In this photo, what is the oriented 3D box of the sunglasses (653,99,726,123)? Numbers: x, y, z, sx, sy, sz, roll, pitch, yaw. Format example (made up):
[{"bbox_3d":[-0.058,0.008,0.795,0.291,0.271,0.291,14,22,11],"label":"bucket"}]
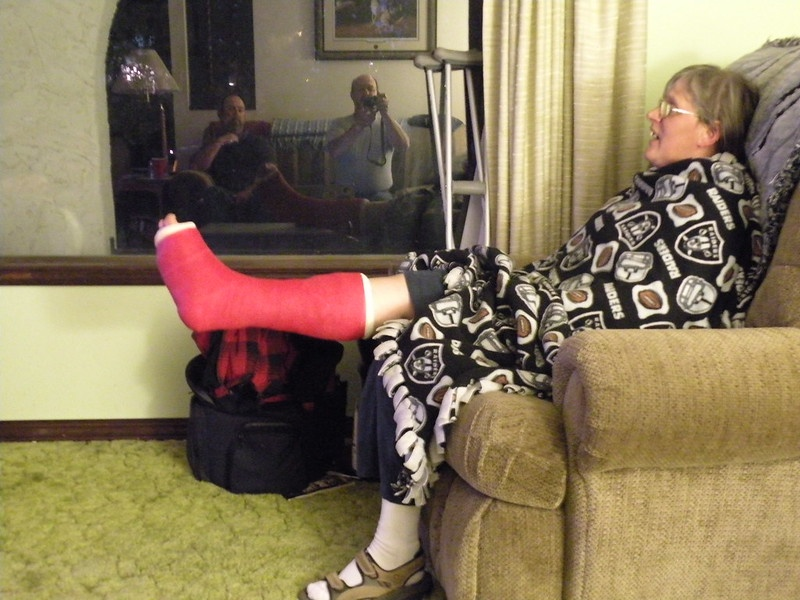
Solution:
[{"bbox_3d":[0.835,-0.540,2.261,0.112,0.031,0.091,8,1,-4],"label":"sunglasses"}]

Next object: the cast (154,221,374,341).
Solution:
[{"bbox_3d":[-0.403,-0.051,2.209,0.690,0.290,0.242,7,2,-6],"label":"cast"}]

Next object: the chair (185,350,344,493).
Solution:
[{"bbox_3d":[-0.453,0.373,2.570,0.525,0.347,0.465,5,20,-6],"label":"chair"}]

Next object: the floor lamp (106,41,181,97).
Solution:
[{"bbox_3d":[-0.941,-0.792,2.756,0.308,0.176,0.293,-6,27,-12],"label":"floor lamp"}]
